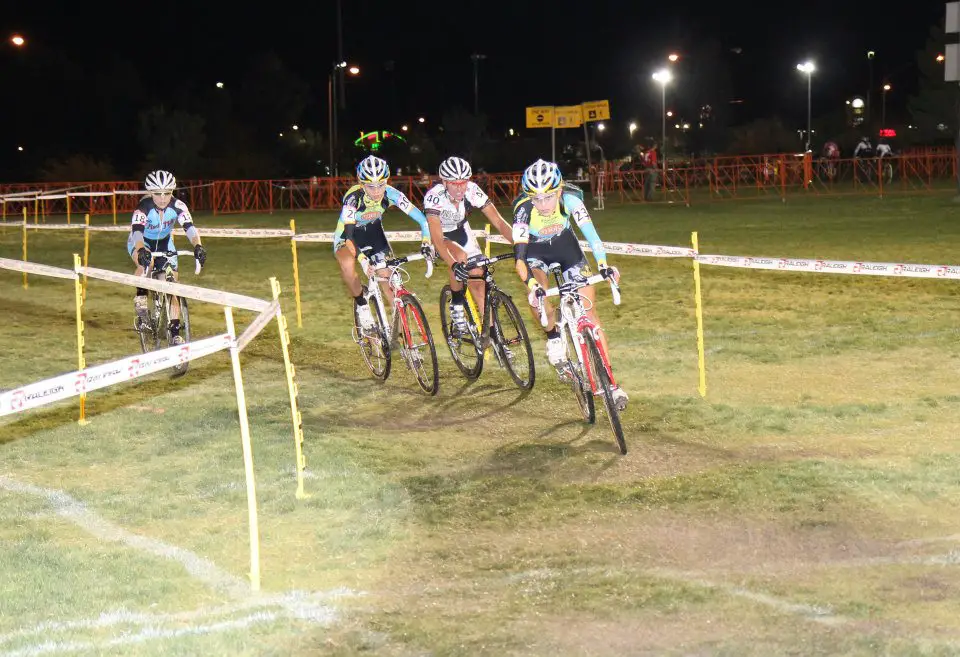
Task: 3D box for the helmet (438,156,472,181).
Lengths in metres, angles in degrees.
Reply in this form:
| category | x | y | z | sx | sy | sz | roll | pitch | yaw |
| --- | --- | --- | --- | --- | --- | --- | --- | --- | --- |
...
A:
| category | x | y | z | sx | sy | sz | roll | pitch | yaw |
| --- | --- | --- | --- | --- | --- | --- | --- | --- | --- |
| helmet | -0.296 | -1.862 | 11.003 | 0.324 | 0.300 | 0.704 | 0 | 16 | 0 |

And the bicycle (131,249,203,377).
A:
| category | x | y | z | sx | sy | sz | roll | pitch | yaw |
| --- | --- | --- | --- | --- | --- | --- | --- | --- | --- |
| bicycle | -4.116 | -0.261 | 12.268 | 0.741 | 1.507 | 1.475 | -5 | 15 | -20 |

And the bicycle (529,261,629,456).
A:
| category | x | y | z | sx | sy | sz | roll | pitch | yaw |
| --- | --- | --- | --- | --- | --- | --- | --- | --- | --- |
| bicycle | 1.076 | 0.229 | 9.860 | 0.862 | 1.863 | 1.382 | 0 | 14 | -1 |

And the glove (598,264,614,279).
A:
| category | x | y | z | sx | sy | sz | roll | pitch | yaw |
| --- | --- | --- | --- | --- | --- | --- | --- | --- | --- |
| glove | 1.260 | -0.560 | 9.469 | 0.114 | 0.156 | 0.264 | 0 | 15 | 0 |

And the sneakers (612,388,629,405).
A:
| category | x | y | z | sx | sy | sz | roll | pitch | yaw |
| --- | --- | --- | --- | --- | --- | --- | --- | --- | --- |
| sneakers | 1.408 | 0.680 | 9.559 | 0.094 | 0.184 | 0.136 | -18 | 12 | -20 |

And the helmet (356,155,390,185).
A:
| category | x | y | z | sx | sy | sz | roll | pitch | yaw |
| --- | --- | --- | --- | --- | --- | --- | --- | --- | --- |
| helmet | -1.274 | -1.856 | 11.114 | 0.339 | 0.330 | 0.350 | 1 | 15 | 2 |

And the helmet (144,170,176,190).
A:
| category | x | y | z | sx | sy | sz | roll | pitch | yaw |
| --- | --- | --- | --- | --- | --- | --- | --- | --- | --- |
| helmet | -4.259 | -1.943 | 12.438 | 0.350 | 0.187 | 0.480 | -11 | 21 | -28 |

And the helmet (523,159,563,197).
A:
| category | x | y | z | sx | sy | sz | roll | pitch | yaw |
| --- | --- | --- | --- | --- | --- | --- | --- | --- | --- |
| helmet | 0.652 | -1.548 | 9.789 | 0.385 | 0.350 | 0.613 | 2 | 16 | 6 |

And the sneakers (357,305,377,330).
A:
| category | x | y | z | sx | sy | sz | roll | pitch | yaw |
| --- | --- | --- | --- | --- | --- | --- | --- | --- | --- |
| sneakers | -1.410 | -0.136 | 11.592 | 0.128 | 0.396 | 0.152 | -18 | 5 | 15 |

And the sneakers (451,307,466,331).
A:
| category | x | y | z | sx | sy | sz | roll | pitch | yaw |
| --- | --- | --- | --- | --- | --- | --- | --- | --- | --- |
| sneakers | -0.273 | -0.124 | 11.615 | 0.076 | 0.276 | 0.162 | -22 | 0 | -41 |

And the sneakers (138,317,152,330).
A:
| category | x | y | z | sx | sy | sz | roll | pitch | yaw |
| --- | --- | --- | --- | --- | --- | --- | --- | --- | --- |
| sneakers | -4.390 | -0.060 | 12.301 | 0.148 | 0.155 | 0.054 | 1 | -1 | -9 |

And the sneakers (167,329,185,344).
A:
| category | x | y | z | sx | sy | sz | roll | pitch | yaw |
| --- | --- | --- | --- | --- | --- | --- | --- | --- | --- |
| sneakers | -3.815 | 0.101 | 11.863 | 0.199 | 0.175 | 0.180 | -5 | 16 | -20 |

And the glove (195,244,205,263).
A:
| category | x | y | z | sx | sy | sz | roll | pitch | yaw |
| --- | --- | --- | --- | --- | --- | --- | --- | --- | --- |
| glove | -3.603 | -0.950 | 12.068 | 0.078 | 0.217 | 0.202 | -6 | 16 | -24 |

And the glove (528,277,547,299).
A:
| category | x | y | z | sx | sy | sz | roll | pitch | yaw |
| --- | --- | --- | --- | --- | --- | --- | --- | --- | --- |
| glove | 0.579 | -0.399 | 9.659 | 0.139 | 0.179 | 0.286 | -4 | 16 | -17 |

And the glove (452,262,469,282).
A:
| category | x | y | z | sx | sy | sz | roll | pitch | yaw |
| --- | --- | --- | --- | --- | --- | --- | --- | --- | --- |
| glove | -0.232 | -0.636 | 10.763 | 0.173 | 0.258 | 0.280 | 0 | 15 | -2 |

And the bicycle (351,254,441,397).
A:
| category | x | y | z | sx | sy | sz | roll | pitch | yaw |
| --- | --- | --- | --- | --- | --- | --- | --- | --- | --- |
| bicycle | -1.030 | -0.079 | 11.416 | 0.539 | 1.754 | 1.546 | -9 | 17 | -35 |

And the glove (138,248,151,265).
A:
| category | x | y | z | sx | sy | sz | roll | pitch | yaw |
| --- | --- | --- | --- | --- | --- | --- | --- | --- | --- |
| glove | -4.269 | -0.900 | 11.981 | 0.155 | 0.217 | 0.167 | 12 | 18 | 38 |
